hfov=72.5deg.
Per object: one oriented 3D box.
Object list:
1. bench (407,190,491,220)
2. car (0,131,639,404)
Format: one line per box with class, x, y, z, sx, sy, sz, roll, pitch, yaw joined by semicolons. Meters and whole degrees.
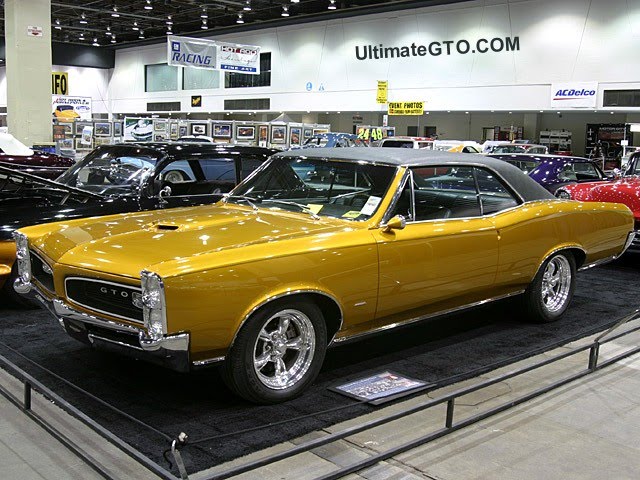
bench;1.053;-0.289;3.616;0.856;0.103;0.209;-5;19;-43
car;0.594;0.000;3.912;4.900;0.976;2.153;-6;11;-34
